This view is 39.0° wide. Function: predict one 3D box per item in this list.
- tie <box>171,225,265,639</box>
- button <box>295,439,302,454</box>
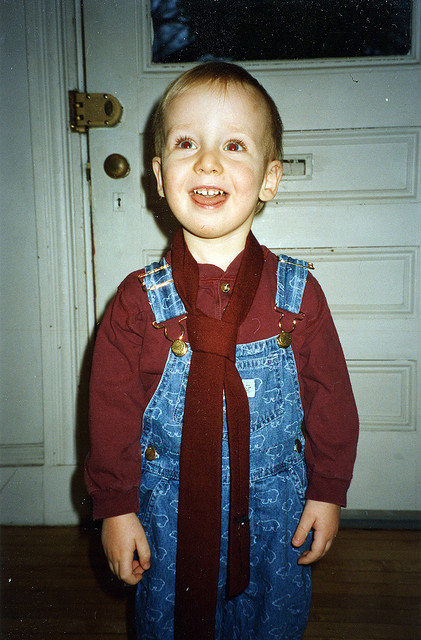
[{"bbox_3d":[0.000,0.176,1.023,0.161,0.649,0.267,1,11,4],"label":"tie"},{"bbox_3d":[0.151,0.217,1.024,0.016,0.020,0.005,-4,-4,-3],"label":"button"}]
